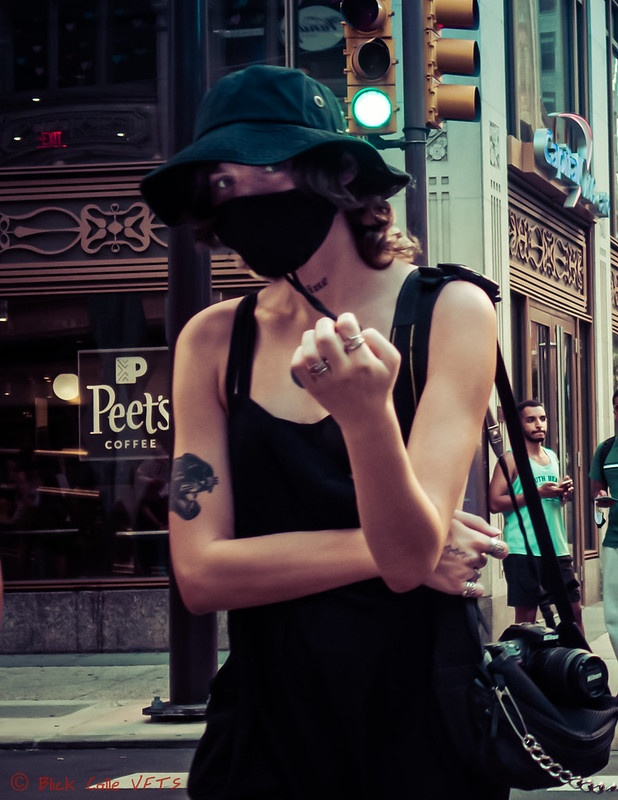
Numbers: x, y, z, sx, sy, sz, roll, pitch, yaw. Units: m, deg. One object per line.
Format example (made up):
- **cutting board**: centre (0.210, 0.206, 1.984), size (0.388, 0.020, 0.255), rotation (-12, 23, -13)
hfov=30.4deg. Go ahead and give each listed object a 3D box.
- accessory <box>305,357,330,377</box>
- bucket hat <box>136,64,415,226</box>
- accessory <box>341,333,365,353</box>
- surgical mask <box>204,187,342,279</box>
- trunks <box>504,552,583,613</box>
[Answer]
- **accessory**: centre (0.013, -0.042, 1.406), size (0.022, 0.016, 0.024), rotation (-6, -5, 3)
- **bucket hat**: centre (-0.059, -0.449, 1.884), size (0.401, 0.190, 0.430), rotation (1, 1, 25)
- **accessory**: centre (0.058, -0.069, 1.404), size (0.025, 0.024, 0.014), rotation (-1, -2, -1)
- **surgical mask**: centre (-0.059, -0.252, 1.817), size (0.155, 0.125, 0.161), rotation (-2, -4, 26)
- **trunks**: centre (1.637, 1.276, 7.903), size (0.545, 0.265, 0.435), rotation (-4, 40, 4)
